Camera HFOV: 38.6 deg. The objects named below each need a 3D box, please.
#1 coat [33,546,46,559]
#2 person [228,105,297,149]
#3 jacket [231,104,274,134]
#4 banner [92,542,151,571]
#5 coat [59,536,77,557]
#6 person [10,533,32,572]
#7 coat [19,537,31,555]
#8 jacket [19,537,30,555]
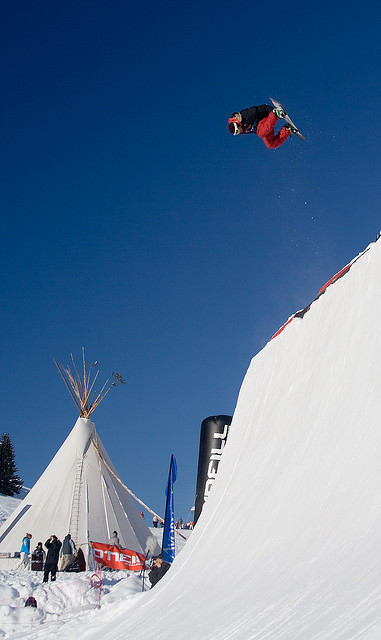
[{"bbox_3d":[-3.317,5.109,11.921,0.238,0.260,0.147,2,-47,-8],"label":"coat"},{"bbox_3d":[0.974,-2.599,7.304,0.915,0.385,0.805,11,-10,40],"label":"person"},{"bbox_3d":[0.857,-2.641,7.300,0.527,0.282,0.493,-2,-30,12],"label":"jacket"},{"bbox_3d":[-1.343,4.396,10.038,0.931,0.392,0.427,9,-28,-7],"label":"banner"},{"bbox_3d":[-2.620,4.921,11.717,0.330,0.383,0.472,7,-28,-5],"label":"coat"},{"bbox_3d":[-4.032,5.662,13.131,0.396,0.795,1.155,11,-29,-14],"label":"person"},{"bbox_3d":[-4.041,5.580,13.300,0.220,0.579,0.654,5,-14,-14],"label":"coat"},{"bbox_3d":[-4.046,5.564,13.269,0.201,0.571,0.650,4,-15,-14],"label":"jacket"}]
